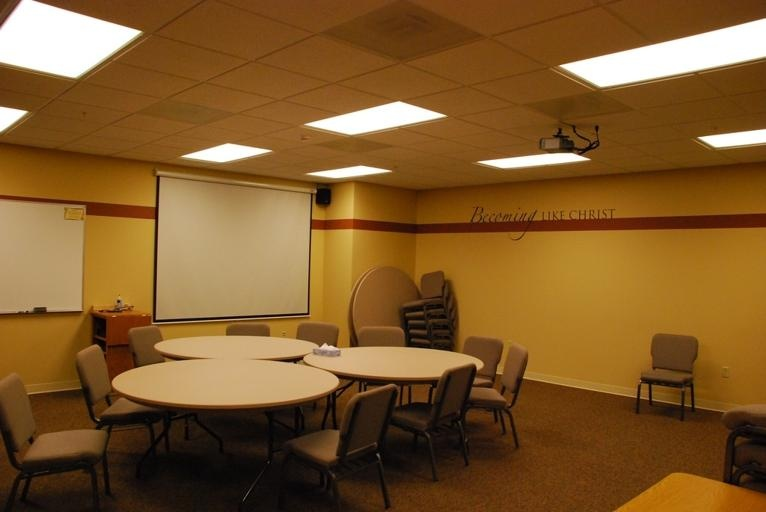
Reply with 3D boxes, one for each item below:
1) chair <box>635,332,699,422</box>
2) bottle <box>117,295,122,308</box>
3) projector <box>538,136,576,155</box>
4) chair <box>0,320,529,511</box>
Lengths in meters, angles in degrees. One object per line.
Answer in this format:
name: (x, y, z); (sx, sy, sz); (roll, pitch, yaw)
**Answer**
chair: (4.074, 1.713, 7.544); (0.893, 1.053, 0.854); (1, 2, 9)
bottle: (-4.026, 0.693, 8.062); (0.095, 0.172, 0.205); (1, 2, -25)
projector: (1.966, -1.265, 5.908); (0.348, 0.196, 0.212); (2, 2, 23)
chair: (-0.877, 1.666, 5.246); (4.869, 1.214, 2.114); (1, 1, -28)
